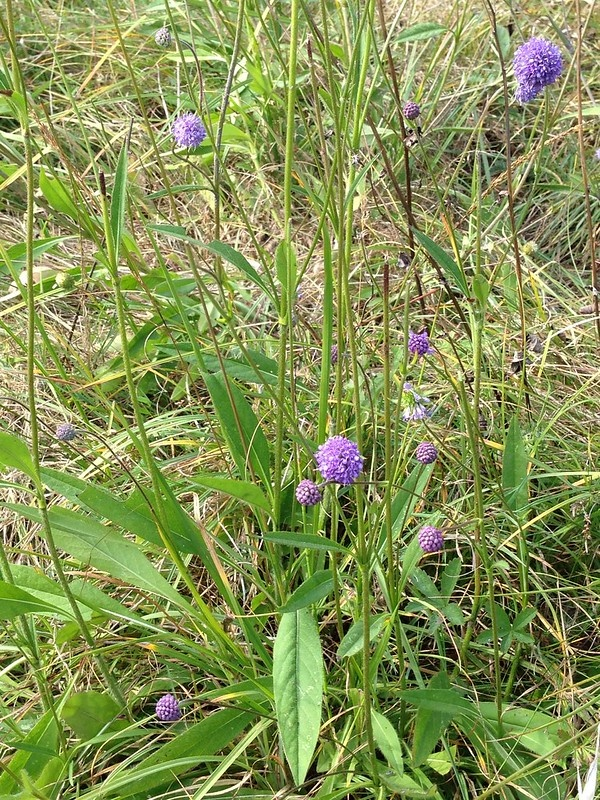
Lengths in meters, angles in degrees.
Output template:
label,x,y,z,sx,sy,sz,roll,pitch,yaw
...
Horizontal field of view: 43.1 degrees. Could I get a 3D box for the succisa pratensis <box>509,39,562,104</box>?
label,x,y,z,sx,sy,sz,roll,pitch,yaw
succisa pratensis,0.363,-0.512,1.220,0.085,0.076,0.098,12,58,8
